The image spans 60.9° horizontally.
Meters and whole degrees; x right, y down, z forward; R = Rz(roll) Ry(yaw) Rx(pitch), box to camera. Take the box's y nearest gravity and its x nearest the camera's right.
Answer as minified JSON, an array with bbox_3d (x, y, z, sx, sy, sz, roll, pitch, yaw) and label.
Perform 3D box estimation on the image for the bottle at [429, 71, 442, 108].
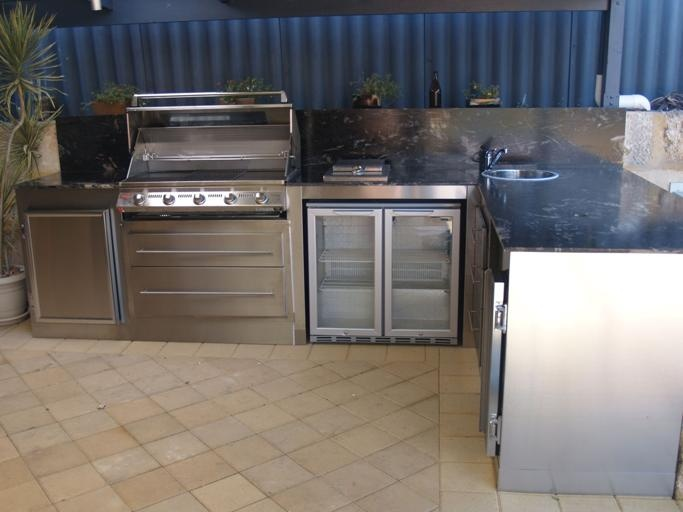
[{"bbox_3d":[0.712,-1.256,4.423,0.078,0.262,0.216,-1,14,7],"label":"bottle"}]

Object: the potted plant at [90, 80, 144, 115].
[{"bbox_3d":[-1.926,-1.333,4.938,0.358,0.296,0.702,-7,13,-16],"label":"potted plant"}]

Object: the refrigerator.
[{"bbox_3d":[0.331,0.113,4.040,1.131,0.923,0.729,4,15,4],"label":"refrigerator"}]

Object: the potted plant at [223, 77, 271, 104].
[{"bbox_3d":[-0.841,-1.413,4.937,0.367,0.241,0.370,11,20,37],"label":"potted plant"}]

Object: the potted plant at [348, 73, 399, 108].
[{"bbox_3d":[0.277,-1.289,4.587,0.455,0.329,0.470,2,23,6],"label":"potted plant"}]
